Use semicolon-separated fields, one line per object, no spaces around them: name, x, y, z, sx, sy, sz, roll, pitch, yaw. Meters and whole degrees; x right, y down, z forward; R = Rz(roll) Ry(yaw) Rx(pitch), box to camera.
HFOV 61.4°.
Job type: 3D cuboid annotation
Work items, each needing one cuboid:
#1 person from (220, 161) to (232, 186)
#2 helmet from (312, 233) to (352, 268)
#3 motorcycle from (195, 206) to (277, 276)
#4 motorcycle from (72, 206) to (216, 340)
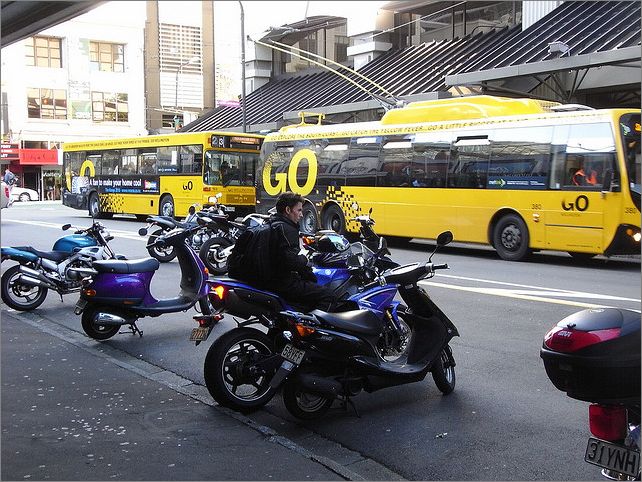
person;-4.515;-3.213;25.844;0.545;1.165;0.238;-1;6;-15
helmet;0.133;0.147;6.402;0.447;0.409;0.345;-17;41;-17
motorcycle;-1.606;0.053;12.317;2.298;1.540;1.313;-4;8;-20
motorcycle;-2.695;0.512;8.423;2.679;1.910;1.288;-10;14;-41
